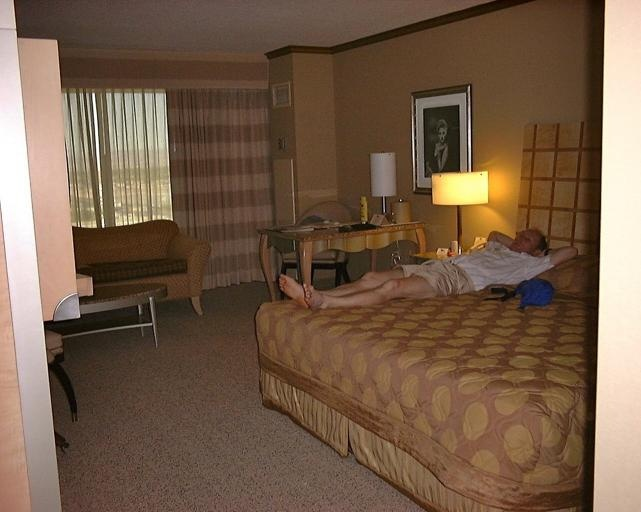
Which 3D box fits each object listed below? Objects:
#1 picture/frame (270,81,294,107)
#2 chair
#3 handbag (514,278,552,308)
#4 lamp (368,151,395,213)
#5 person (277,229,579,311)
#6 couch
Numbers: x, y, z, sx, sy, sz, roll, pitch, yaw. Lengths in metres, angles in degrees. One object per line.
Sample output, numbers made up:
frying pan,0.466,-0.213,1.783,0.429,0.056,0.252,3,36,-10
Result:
picture/frame,-0.506,-2.189,6.773,0.043,0.308,0.418,-9,15,-35
chair,-0.039,-0.121,6.289,0.819,1.138,0.876,-1,8,6
handbag,1.462,0.258,3.456,0.210,0.080,0.213,-12,38,6
lamp,0.735,-0.658,5.826,0.267,1.109,0.268,-6,19,-7
person,0.870,0.153,3.840,2.284,0.454,0.854,-10,2,-24
couch,-2.280,0.130,5.888,1.700,0.971,0.922,-7,13,-34
